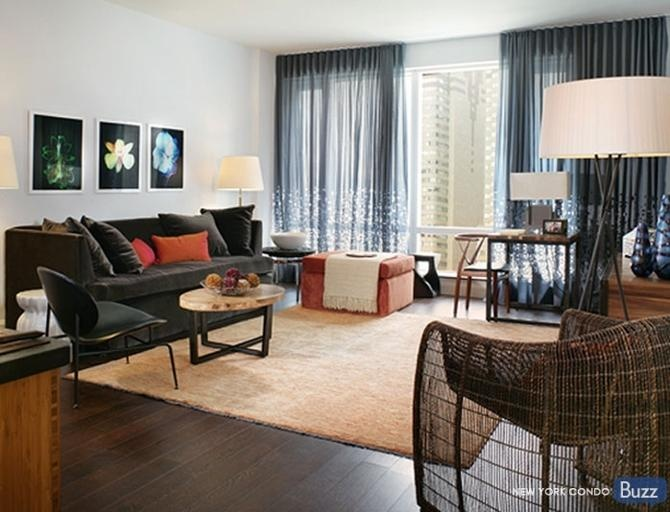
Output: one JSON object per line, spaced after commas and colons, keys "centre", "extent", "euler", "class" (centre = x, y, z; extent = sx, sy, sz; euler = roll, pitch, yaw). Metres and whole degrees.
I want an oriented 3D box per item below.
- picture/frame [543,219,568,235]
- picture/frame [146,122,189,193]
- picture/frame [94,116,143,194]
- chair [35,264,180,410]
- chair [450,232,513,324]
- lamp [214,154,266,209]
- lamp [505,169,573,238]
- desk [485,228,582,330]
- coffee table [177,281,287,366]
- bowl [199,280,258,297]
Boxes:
{"centre": [2.188, -0.286, 5.117], "extent": [0.233, 0.184, 0.134], "euler": [2, 6, 20], "class": "picture/frame"}
{"centre": [-1.921, -1.136, 5.871], "extent": [0.055, 0.920, 0.743], "euler": [6, 8, 19], "class": "picture/frame"}
{"centre": [-2.252, -1.057, 5.325], "extent": [0.066, 1.019, 0.717], "euler": [6, 8, 26], "class": "picture/frame"}
{"centre": [-1.550, 0.295, 3.510], "extent": [0.902, 1.122, 0.886], "euler": [9, 11, 44], "class": "chair"}
{"centre": [1.603, 0.161, 5.714], "extent": [0.729, 1.248, 0.909], "euler": [0, 4, 18], "class": "chair"}
{"centre": [-1.195, -0.801, 6.538], "extent": [0.569, 0.966, 0.654], "euler": [-1, 4, -17], "class": "lamp"}
{"centre": [2.150, -0.550, 5.338], "extent": [0.657, 0.770, 0.233], "euler": [3, 8, 25], "class": "lamp"}
{"centre": [2.002, 0.157, 5.286], "extent": [0.925, 1.039, 0.989], "euler": [2, 6, 24], "class": "desk"}
{"centre": [-0.802, 0.474, 3.851], "extent": [0.540, 0.465, 0.759], "euler": [8, 11, 33], "class": "coffee table"}
{"centre": [-0.780, 0.220, 3.856], "extent": [0.364, 0.120, 0.245], "euler": [0, 9, -6], "class": "bowl"}
